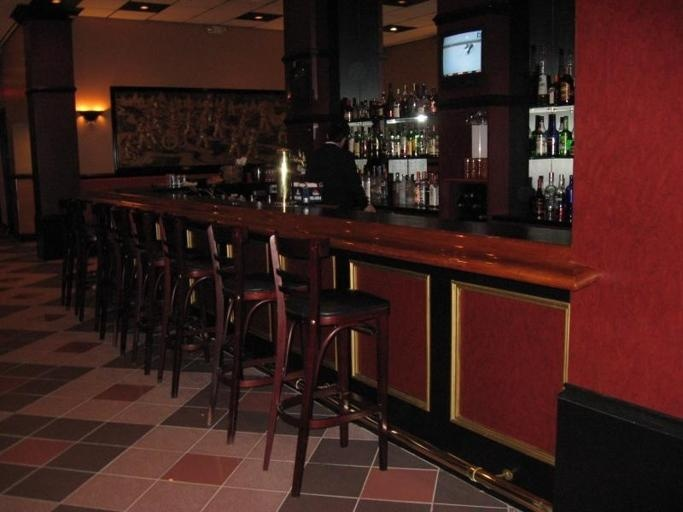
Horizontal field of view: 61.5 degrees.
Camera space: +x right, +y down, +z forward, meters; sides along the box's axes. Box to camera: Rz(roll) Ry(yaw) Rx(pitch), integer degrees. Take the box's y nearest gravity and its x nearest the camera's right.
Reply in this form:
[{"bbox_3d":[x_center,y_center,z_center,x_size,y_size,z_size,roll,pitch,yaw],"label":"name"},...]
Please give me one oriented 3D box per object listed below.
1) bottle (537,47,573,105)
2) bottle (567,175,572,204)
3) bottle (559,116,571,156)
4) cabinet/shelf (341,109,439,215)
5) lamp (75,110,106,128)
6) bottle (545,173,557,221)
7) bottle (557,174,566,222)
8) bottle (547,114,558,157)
[{"bbox_3d":[1.719,-1.472,4.686,0.303,0.480,0.557,2,12,19],"label":"bottle"},{"bbox_3d":[1.850,-0.544,4.688,0.038,0.213,0.387,2,12,18],"label":"bottle"},{"bbox_3d":[1.816,-0.978,4.665,0.100,0.323,0.387,3,12,21],"label":"bottle"},{"bbox_3d":[0.508,-0.942,5.808,0.382,1.112,1.198,-4,5,-44],"label":"cabinet/shelf"},{"bbox_3d":[-4.498,-2.483,10.428,0.484,0.354,0.279,-5,9,-39],"label":"lamp"},{"bbox_3d":[1.711,-0.503,4.721,0.093,0.359,0.550,2,12,19],"label":"bottle"},{"bbox_3d":[1.779,-0.473,4.666,0.078,0.334,0.544,3,12,20],"label":"bottle"},{"bbox_3d":[1.748,-1.004,4.751,0.092,0.344,0.340,2,12,19],"label":"bottle"}]
